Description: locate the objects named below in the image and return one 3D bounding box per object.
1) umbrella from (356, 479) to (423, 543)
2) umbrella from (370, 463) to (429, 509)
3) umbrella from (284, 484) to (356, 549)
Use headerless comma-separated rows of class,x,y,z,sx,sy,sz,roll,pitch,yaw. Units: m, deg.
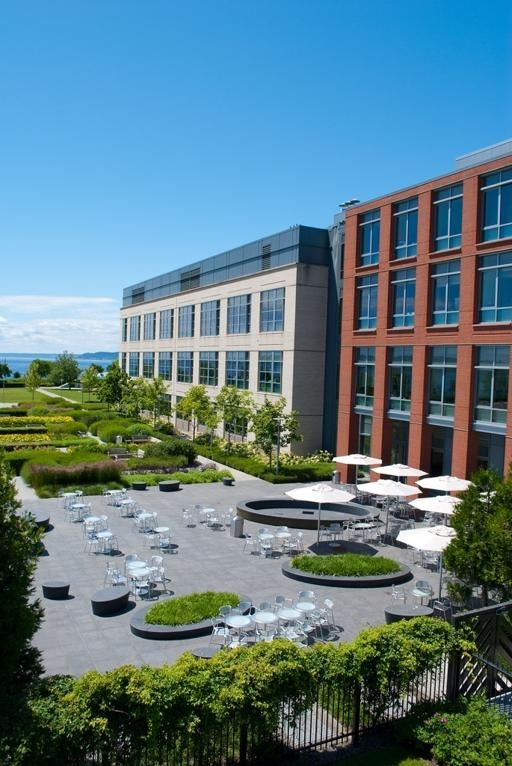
umbrella,4.602,4.304,22.452,2.389,2.083,2.329,2,10,-6
umbrella,4.747,3.690,24.049,1.715,0.685,1.819,11,13,39
umbrella,1.966,4.151,20.857,2.167,1.893,2.186,3,4,-9
